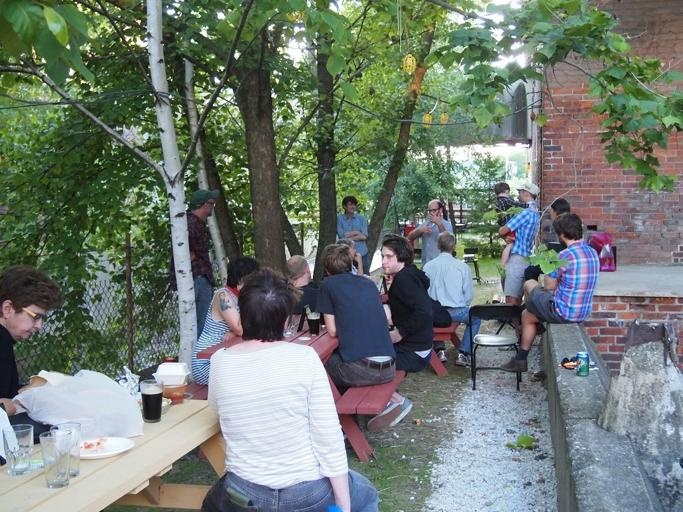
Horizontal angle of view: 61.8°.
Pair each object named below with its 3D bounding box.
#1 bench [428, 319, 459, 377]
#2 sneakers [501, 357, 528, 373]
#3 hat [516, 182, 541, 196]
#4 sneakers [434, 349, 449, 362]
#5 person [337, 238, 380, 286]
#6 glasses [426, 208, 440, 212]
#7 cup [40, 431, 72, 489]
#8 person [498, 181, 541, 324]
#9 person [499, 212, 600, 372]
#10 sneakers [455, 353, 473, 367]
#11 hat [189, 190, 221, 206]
[{"bbox_3d":[1.308,1.183,7.297,0.284,0.255,0.830,0,4,16],"label":"bench"},{"bbox_3d":[2.018,1.265,6.568,0.316,0.152,0.144,2,4,24],"label":"sneakers"},{"bbox_3d":[2.700,-0.978,8.233,0.302,0.163,0.219,14,10,21],"label":"hat"},{"bbox_3d":[1.358,1.360,7.761,0.118,0.168,0.360,-3,-8,0],"label":"sneakers"},{"bbox_3d":[0.250,0.052,7.924,0.353,0.369,1.137,15,-5,33],"label":"person"},{"bbox_3d":[1.586,-0.805,9.976,0.127,0.084,0.281,-5,9,-23],"label":"glasses"},{"bbox_3d":[-1.388,0.970,2.761,0.180,0.257,0.123,2,10,21],"label":"cup"},{"bbox_3d":[2.535,0.060,8.324,0.520,2.336,0.699,8,4,21],"label":"person"},{"bbox_3d":[2.333,0.440,6.342,0.686,1.862,0.825,-7,11,-32],"label":"person"},{"bbox_3d":[1.654,1.387,7.644,0.105,0.139,0.295,3,0,29],"label":"sneakers"},{"bbox_3d":[-1.762,-0.769,7.411,0.334,0.171,0.215,-16,24,-27],"label":"hat"}]
